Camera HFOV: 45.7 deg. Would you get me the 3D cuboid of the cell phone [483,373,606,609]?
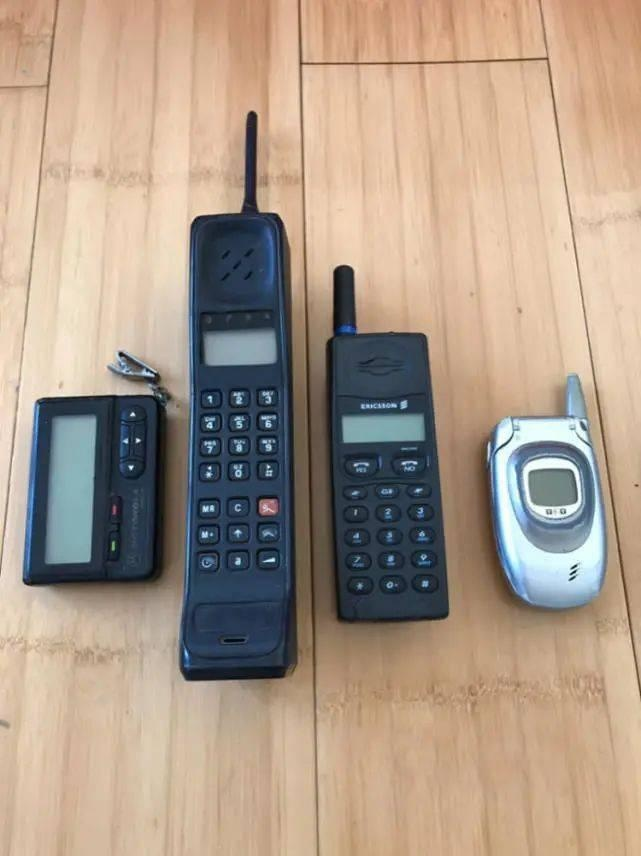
[{"bbox_3d":[0.154,0.037,0.518,0.073,0.040,0.177,1,56,15],"label":"cell phone"}]
